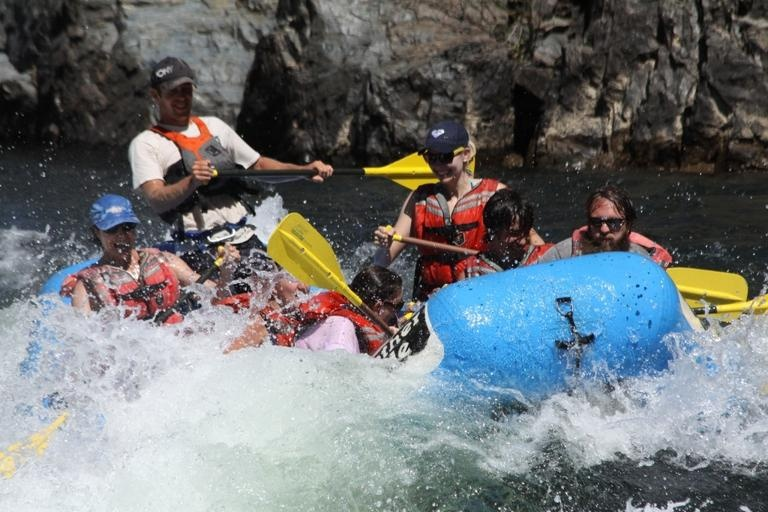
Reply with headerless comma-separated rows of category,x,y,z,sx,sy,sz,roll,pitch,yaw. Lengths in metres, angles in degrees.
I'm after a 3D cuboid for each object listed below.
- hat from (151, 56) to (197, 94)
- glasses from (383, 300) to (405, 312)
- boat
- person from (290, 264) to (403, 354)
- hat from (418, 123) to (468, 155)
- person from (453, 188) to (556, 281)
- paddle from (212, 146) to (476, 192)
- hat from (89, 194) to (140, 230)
hat,-2.071,-1.811,9.615,0.427,0.342,0.585,-13,13,-38
glasses,0.074,0.471,9.343,0.130,0.038,0.122,-10,54,-23
boat,0.374,0.502,8.979,4.321,1.103,2.185,-7,14,2
person,-0.201,0.607,9.215,0.830,0.301,0.615,-42,11,16
hat,0.589,-1.220,9.765,0.416,0.300,0.583,8,22,36
person,1.123,-0.189,9.543,0.439,0.580,0.996,8,26,44
paddle,-0.314,-0.959,11.338,0.432,0.432,2.450,8,-2,-35
hat,-2.549,-0.443,9.265,0.433,0.300,0.578,-11,12,-31
